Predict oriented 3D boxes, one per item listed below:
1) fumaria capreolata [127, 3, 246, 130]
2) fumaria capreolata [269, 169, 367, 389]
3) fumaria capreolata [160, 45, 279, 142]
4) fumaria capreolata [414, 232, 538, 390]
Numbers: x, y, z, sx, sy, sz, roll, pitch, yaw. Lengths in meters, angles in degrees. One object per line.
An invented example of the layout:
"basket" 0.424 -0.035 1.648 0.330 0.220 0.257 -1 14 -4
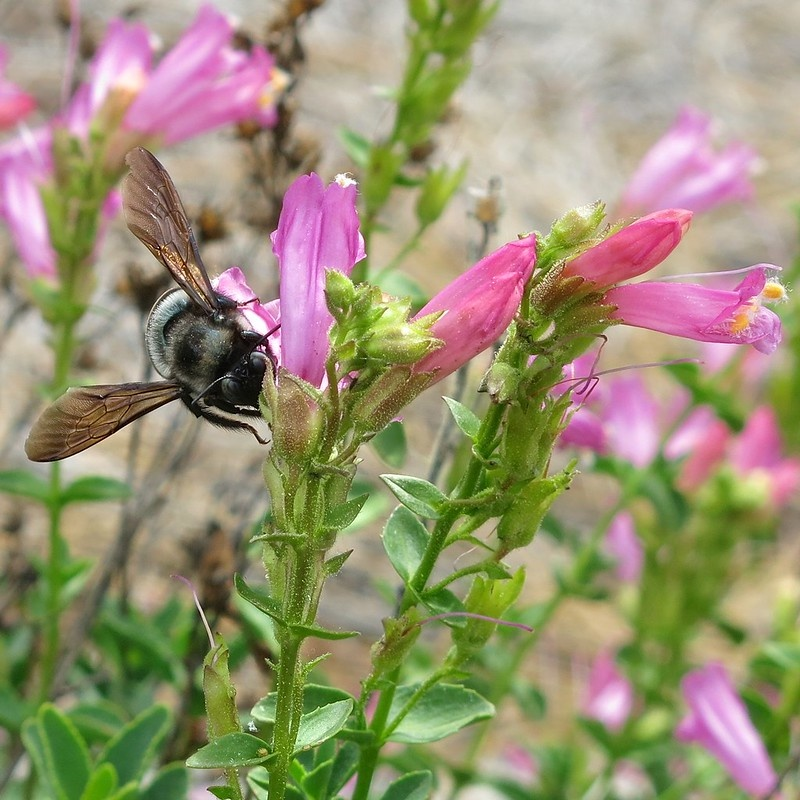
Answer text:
"fumaria capreolata" -0.254 -0.383 1.262 0.137 0.158 0.063 2 21 -22
"fumaria capreolata" -0.070 -0.091 0.818 0.065 0.162 0.048 8 19 -8
"fumaria capreolata" -0.221 -0.376 1.293 0.169 0.082 0.088 -22 32 -7
"fumaria capreolata" 0.054 -0.070 0.818 0.080 0.121 0.069 11 19 3
